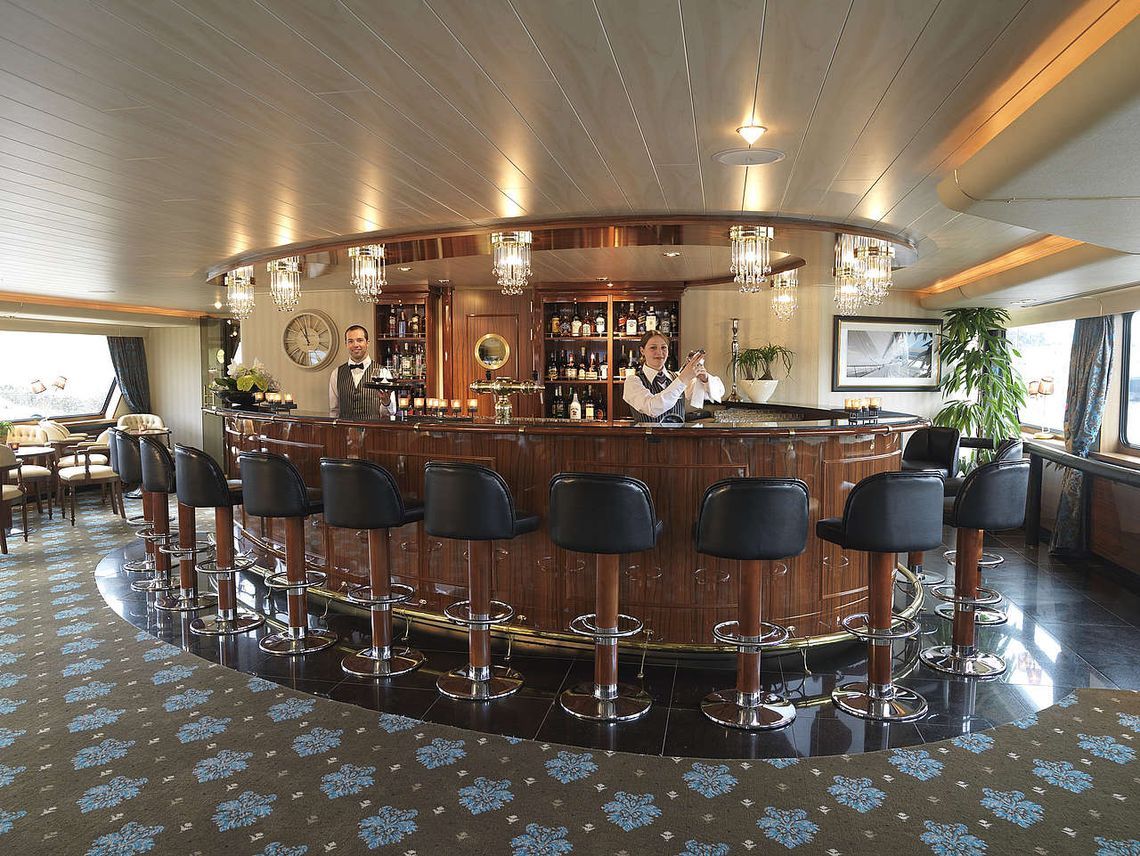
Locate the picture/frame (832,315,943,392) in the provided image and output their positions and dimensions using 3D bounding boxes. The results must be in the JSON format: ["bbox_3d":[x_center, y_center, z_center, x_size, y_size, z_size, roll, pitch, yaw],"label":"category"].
[{"bbox_3d":[3.772,-0.938,9.311,1.091,0.676,0.038,0,2,-5],"label":"picture/frame"}]

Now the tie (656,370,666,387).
[{"bbox_3d":[0.676,-0.357,5.681,0.080,0.098,0.028,2,-1,-26],"label":"tie"}]

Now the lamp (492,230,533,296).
[{"bbox_3d":[-0.436,-1.316,6.042,0.330,0.474,0.440,-1,14,-4],"label":"lamp"}]

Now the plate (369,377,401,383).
[{"bbox_3d":[-1.362,-0.351,5.721,0.219,0.041,0.192,0,13,2],"label":"plate"}]

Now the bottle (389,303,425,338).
[{"bbox_3d":[-1.987,-1.325,9.479,0.415,0.411,0.295,-1,14,-4],"label":"bottle"}]

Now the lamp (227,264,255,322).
[{"bbox_3d":[-3.296,-1.396,7.807,0.277,0.509,1.123,-7,14,-23],"label":"lamp"}]

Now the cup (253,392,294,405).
[{"bbox_3d":[-2.469,-0.256,6.586,0.168,0.071,0.219,4,5,35],"label":"cup"}]

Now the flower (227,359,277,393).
[{"bbox_3d":[-2.749,-0.429,6.728,0.406,0.218,0.378,2,4,4],"label":"flower"}]

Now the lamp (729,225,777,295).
[{"bbox_3d":[1.366,-1.288,5.798,0.360,0.476,0.266,-1,14,-1],"label":"lamp"}]

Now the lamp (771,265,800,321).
[{"bbox_3d":[2.135,-1.370,7.641,0.252,0.448,0.628,3,14,14],"label":"lamp"}]

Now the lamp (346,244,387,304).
[{"bbox_3d":[-1.733,-1.357,6.698,0.317,0.469,0.565,-4,14,-13],"label":"lamp"}]

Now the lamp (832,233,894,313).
[{"bbox_3d":[2.421,-1.283,6.382,0.475,0.644,1.115,4,14,18],"label":"lamp"}]

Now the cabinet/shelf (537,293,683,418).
[{"bbox_3d":[0.457,-0.838,8.315,1.705,1.388,0.466,0,0,7],"label":"cabinet/shelf"}]
